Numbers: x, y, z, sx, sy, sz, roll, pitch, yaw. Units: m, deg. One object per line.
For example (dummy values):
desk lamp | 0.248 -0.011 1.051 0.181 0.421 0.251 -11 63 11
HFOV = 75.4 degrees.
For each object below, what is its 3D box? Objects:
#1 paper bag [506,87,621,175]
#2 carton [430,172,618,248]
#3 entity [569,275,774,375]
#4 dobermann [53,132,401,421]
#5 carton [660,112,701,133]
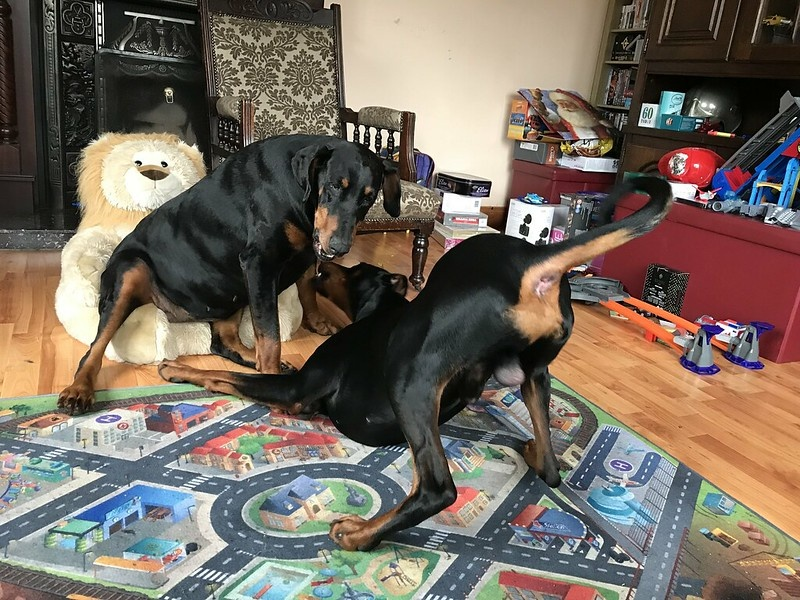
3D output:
paper bag | 1.259 -1.366 4.132 0.654 0.360 0.823 1 27 -14
carton | 0.686 -0.563 3.626 0.891 0.213 0.980 -6 22 -21
entity | 1.309 0.094 2.624 0.364 0.143 0.833 -9 25 -28
dobermann | -0.557 -0.095 1.821 1.144 0.809 0.686 1 16 14
carton | 1.873 -1.189 3.461 0.253 0.108 0.160 13 21 24
